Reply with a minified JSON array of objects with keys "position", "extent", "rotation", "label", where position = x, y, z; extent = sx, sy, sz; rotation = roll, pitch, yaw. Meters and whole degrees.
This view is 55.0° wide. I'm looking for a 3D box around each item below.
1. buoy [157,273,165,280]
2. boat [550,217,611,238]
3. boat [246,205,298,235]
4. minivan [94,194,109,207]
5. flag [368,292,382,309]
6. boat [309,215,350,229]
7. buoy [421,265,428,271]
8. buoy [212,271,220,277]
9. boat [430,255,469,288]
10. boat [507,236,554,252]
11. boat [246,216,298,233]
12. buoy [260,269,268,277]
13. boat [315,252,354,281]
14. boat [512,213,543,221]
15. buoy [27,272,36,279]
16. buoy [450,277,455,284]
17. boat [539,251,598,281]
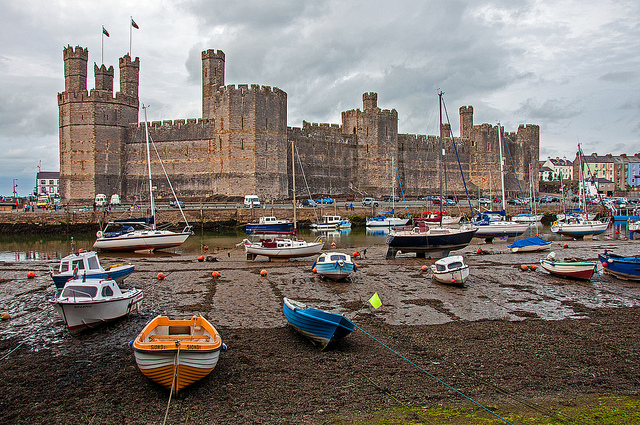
[{"position":[-7.496,3.015,28.711],"extent":[0.223,0.215,0.268],"rotation":[8,-19,4],"label":"buoy"},{"position":[18.298,1.102,43.842],"extent":[4.997,1.461,1.873],"rotation":[-4,6,-19],"label":"boat"},{"position":[-3.915,0.411,47.656],"extent":[3.868,2.171,1.342],"rotation":[-2,2,-9],"label":"boat"},{"position":[-20.671,-1.208,57.637],"extent":[1.185,0.955,1.966],"rotation":[0,8,-5],"label":"minivan"},{"position":[2.003,3.292,22.846],"extent":[0.282,0.509,0.508],"rotation":[-6,1,-3],"label":"flag"},{"position":[0.616,0.981,51.065],"extent":[2.699,0.686,1.376],"rotation":[-1,3,1],"label":"boat"},{"position":[5.123,2.789,30.506],"extent":[0.191,0.220,0.175],"rotation":[-9,10,-40],"label":"buoy"},{"position":[-4.959,2.926,28.910],"extent":[0.219,0.209,0.217],"rotation":[-1,19,37],"label":"buoy"},{"position":[5.811,2.674,27.963],"extent":[0.831,0.871,2.280],"rotation":[-10,-1,-6],"label":"boat"},{"position":[12.406,1.912,36.288],"extent":[2.517,0.855,0.927],"rotation":[-3,5,-10],"label":"boat"},{"position":[-4.000,1.106,47.428],"extent":[4.452,1.352,1.495],"rotation":[-2,2,-1],"label":"boat"},{"position":[-2.726,2.883,29.098],"extent":[0.275,0.201,0.266],"rotation":[1,11,0],"label":"buoy"},{"position":[0.638,2.539,28.367],"extent":[1.761,1.146,0.819],"rotation":[-5,1,2],"label":"boat"},{"position":[17.807,0.489,53.216],"extent":[2.993,0.836,1.014],"rotation":[-1,10,11],"label":"boat"},{"position":[-13.696,2.979,29.018],"extent":[0.265,0.208,0.270],"rotation":[8,-3,-30],"label":"buoy"},{"position":[5.864,3.081,27.365],"extent":[0.182,0.228,0.176],"rotation":[1,15,-4],"label":"buoy"},{"position":[11.576,2.605,28.957],"extent":[1.109,1.092,2.789],"rotation":[5,2,-30],"label":"boat"}]
